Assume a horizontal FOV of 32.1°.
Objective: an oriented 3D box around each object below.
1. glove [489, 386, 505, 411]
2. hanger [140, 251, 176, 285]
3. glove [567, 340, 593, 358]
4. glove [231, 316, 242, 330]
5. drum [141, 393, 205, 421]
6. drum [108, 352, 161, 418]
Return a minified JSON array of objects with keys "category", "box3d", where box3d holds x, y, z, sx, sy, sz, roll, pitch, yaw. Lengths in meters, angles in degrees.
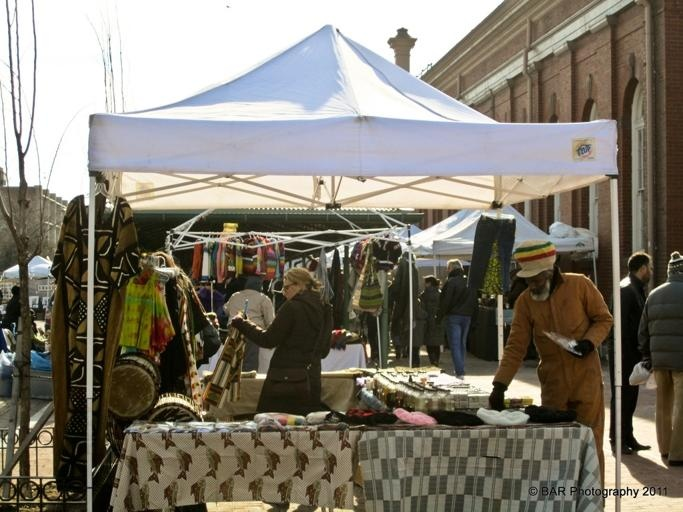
[{"category":"glove","box3d":[1.641,1.461,12.400,0.158,0.258,0.196,2,-3,6]},{"category":"hanger","box3d":[-2.002,0.100,12.840,0.311,0.167,0.311,-1,6,-42]},{"category":"glove","box3d":[2.512,0.942,12.290,0.230,0.175,0.315,1,-4,22]},{"category":"glove","box3d":[-1.133,0.704,12.975,0.095,0.149,0.131,11,-3,38]},{"category":"drum","box3d":[-1.746,1.594,12.589,0.615,0.265,0.490,4,-4,-24]},{"category":"drum","box3d":[-2.197,1.406,12.816,0.552,0.643,0.579,-13,4,8]}]
